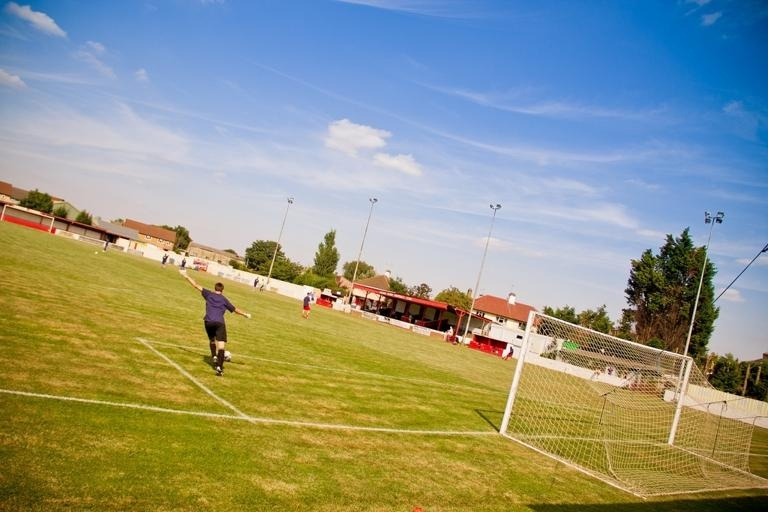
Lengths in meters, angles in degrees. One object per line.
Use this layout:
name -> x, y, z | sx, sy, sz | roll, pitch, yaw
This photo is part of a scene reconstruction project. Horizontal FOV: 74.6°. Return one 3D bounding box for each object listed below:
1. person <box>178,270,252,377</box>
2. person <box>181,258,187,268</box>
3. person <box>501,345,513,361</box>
person -> -4.660, 1.938, 13.913 | 0.982, 2.834, 1.228 | 13, -3, -14
person -> -22.056, 0.807, 55.401 | 0.406, 0.362, 1.064 | -4, -23, -22
person -> 11.435, 8.899, 46.820 | 0.830, 1.128, 3.036 | 11, -2, 13
